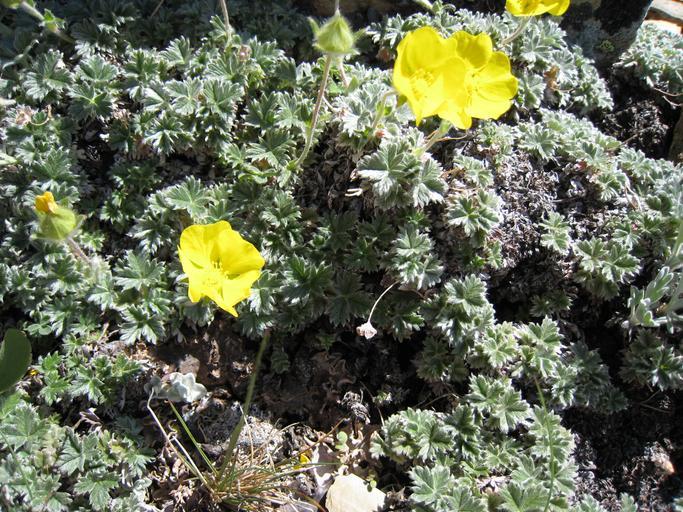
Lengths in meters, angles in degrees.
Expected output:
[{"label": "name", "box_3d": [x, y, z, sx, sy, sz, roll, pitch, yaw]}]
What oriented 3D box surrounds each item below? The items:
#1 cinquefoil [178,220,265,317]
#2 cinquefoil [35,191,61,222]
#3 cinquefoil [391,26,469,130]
[{"label": "cinquefoil", "box_3d": [-0.728, 0.073, 3.729, 0.644, 0.258, 0.558, -5, 46, -44]}, {"label": "cinquefoil", "box_3d": [-1.844, -0.326, 3.791, 0.142, 0.145, 0.070, 7, 38, -13]}, {"label": "cinquefoil", "box_3d": [0.483, -1.079, 3.752, 0.521, 0.606, 0.227, -17, 5, -25]}]
